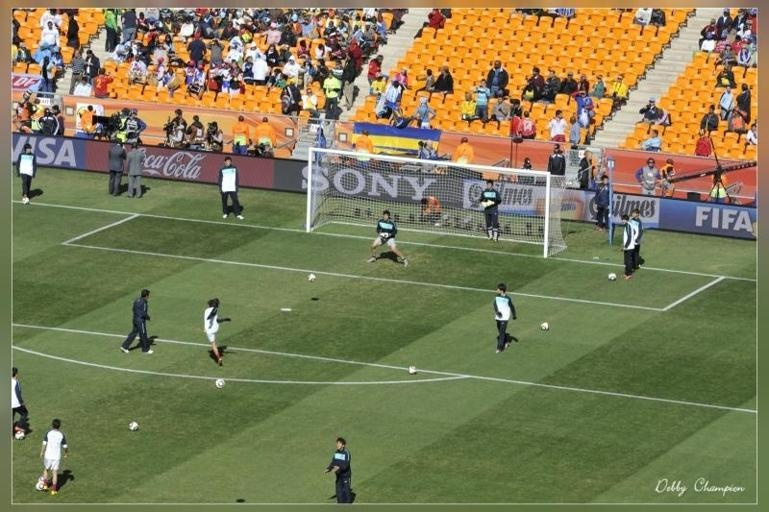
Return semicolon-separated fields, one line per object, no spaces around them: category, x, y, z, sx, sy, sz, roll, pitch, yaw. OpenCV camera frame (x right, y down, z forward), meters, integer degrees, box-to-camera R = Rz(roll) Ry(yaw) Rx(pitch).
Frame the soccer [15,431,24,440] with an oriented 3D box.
soccer;-10.532;5.142;46.085;0.280;0.215;0.203;-5;-1;-3

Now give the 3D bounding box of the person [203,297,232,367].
person;-5.163;2.231;49.023;0.848;2.170;0.877;3;-3;-2

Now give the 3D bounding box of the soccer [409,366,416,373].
soccer;0.928;3.440;48.950;0.258;0.184;0.487;1;6;-2

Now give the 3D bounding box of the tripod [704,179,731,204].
tripod;12.437;-2.450;58.490;0.820;0.980;0.796;-5;18;-10

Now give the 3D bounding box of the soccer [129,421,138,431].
soccer;-7.243;4.884;46.306;0.290;0.220;0.419;0;7;-11

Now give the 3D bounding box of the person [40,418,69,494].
person;-9.221;5.496;44.165;0.692;2.018;0.837;2;-3;13

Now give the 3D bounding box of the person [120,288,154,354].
person;-7.841;2.100;50.626;1.273;2.126;0.811;-20;45;-32

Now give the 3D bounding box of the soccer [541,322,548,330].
soccer;5.236;2.199;51.243;0.193;0.218;0.237;8;29;6

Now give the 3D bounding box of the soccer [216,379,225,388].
soccer;-4.941;3.802;48.262;0.273;0.242;0.459;1;7;-6
